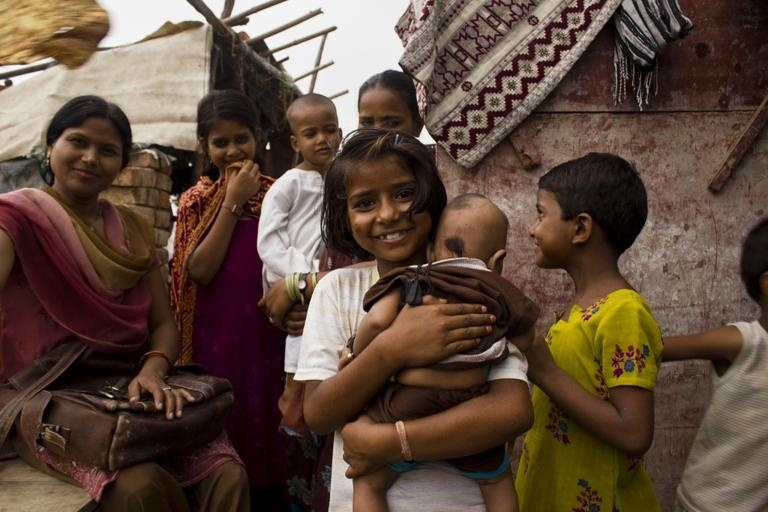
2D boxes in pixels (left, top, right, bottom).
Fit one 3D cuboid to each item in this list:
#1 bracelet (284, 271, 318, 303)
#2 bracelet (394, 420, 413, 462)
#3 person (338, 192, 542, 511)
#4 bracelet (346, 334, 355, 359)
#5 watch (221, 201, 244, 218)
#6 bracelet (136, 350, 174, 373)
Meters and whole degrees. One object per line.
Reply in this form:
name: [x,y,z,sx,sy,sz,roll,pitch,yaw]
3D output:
bracelet: [-0.530,0.189,4.504,0.215,0.178,0.102,10,-27,-15]
bracelet: [0.087,0.899,3.478,0.042,0.153,0.115,-6,-13,-10]
person: [0.300,0.458,3.599,0.902,1.590,0.278,3,-10,-5]
bracelet: [-0.173,0.455,3.669,0.033,0.092,0.069,7,-7,-17]
watch: [-1.040,-0.321,4.983,0.097,0.100,0.092,-5,11,-35]
bracelet: [-1.437,0.656,4.552,0.136,0.127,0.037,4,-39,-5]
